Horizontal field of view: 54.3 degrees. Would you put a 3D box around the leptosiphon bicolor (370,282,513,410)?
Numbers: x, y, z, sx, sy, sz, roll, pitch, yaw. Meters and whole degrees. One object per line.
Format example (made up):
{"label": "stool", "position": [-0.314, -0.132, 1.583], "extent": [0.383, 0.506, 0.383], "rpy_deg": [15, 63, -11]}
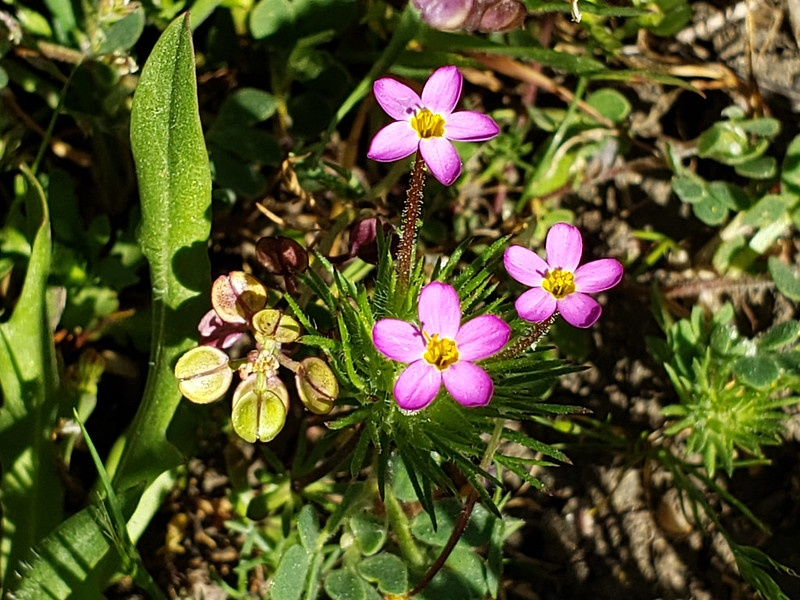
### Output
{"label": "leptosiphon bicolor", "position": [0.126, 0.171, 2.404], "extent": [0.397, 0.351, 0.363], "rpy_deg": [-4, 75, 1]}

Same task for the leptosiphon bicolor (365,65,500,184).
{"label": "leptosiphon bicolor", "position": [0.082, -0.511, 2.415], "extent": [0.355, 0.404, 0.191], "rpy_deg": [-15, 45, 19]}

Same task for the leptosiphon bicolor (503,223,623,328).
{"label": "leptosiphon bicolor", "position": [0.491, -0.070, 2.516], "extent": [0.400, 0.382, 0.183], "rpy_deg": [-2, 70, -29]}
